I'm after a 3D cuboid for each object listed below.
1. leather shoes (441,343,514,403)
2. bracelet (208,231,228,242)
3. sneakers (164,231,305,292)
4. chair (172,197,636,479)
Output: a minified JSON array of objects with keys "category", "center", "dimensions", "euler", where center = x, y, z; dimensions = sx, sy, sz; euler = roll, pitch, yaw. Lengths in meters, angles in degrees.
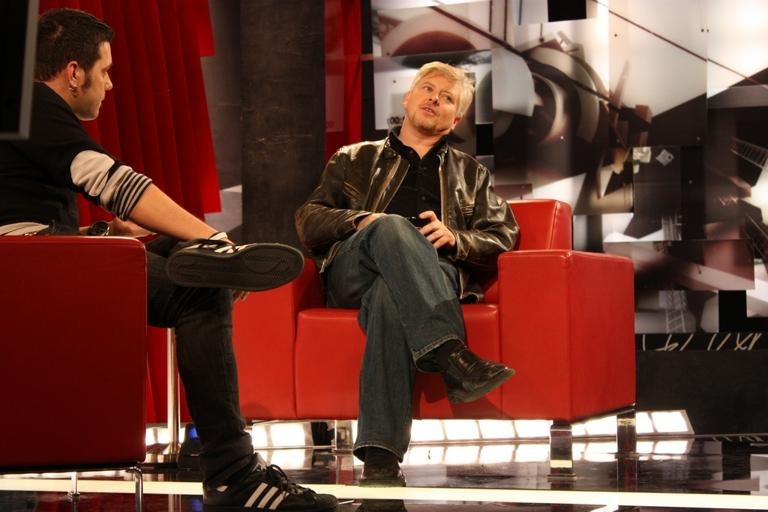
[{"category":"leather shoes","center":[0.288,0.366,2.423],"dimensions":[0.164,0.167,0.373],"euler":[-22,-7,-21]},{"category":"bracelet","center":[-0.477,-0.056,2.122],"dimensions":[0.062,0.019,0.027],"euler":[-5,-2,31]},{"category":"sneakers","center":[-0.395,-0.001,2.096],"dimensions":[0.426,0.137,0.173],"euler":[2,9,6]},{"category":"chair","center":[0.244,0.236,3.247],"dimensions":[1.630,0.919,0.880],"euler":[-7,-5,36]}]
